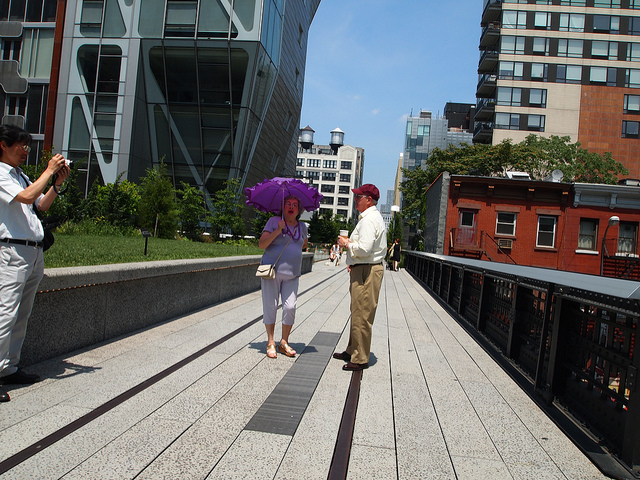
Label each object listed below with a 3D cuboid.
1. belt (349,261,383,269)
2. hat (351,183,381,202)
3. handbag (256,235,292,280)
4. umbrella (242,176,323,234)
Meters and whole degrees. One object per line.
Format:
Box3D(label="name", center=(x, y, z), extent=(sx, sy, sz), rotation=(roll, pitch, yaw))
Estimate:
Box3D(label="belt", center=(0.561, 0.353, 5.551), extent=(0.418, 0.117, 0.168), rotation=(4, 1, 20))
Box3D(label="hat", center=(0.612, -0.626, 5.543), extent=(0.292, 0.178, 0.524), rotation=(4, 1, 13))
Box3D(label="handbag", center=(-0.693, 0.300, 5.688), extent=(0.381, 0.754, 0.288), rotation=(-7, -37, 39))
Box3D(label="umbrella", center=(-0.587, -0.600, 6.466), extent=(0.993, 0.772, 1.001), rotation=(3, -35, -2))
